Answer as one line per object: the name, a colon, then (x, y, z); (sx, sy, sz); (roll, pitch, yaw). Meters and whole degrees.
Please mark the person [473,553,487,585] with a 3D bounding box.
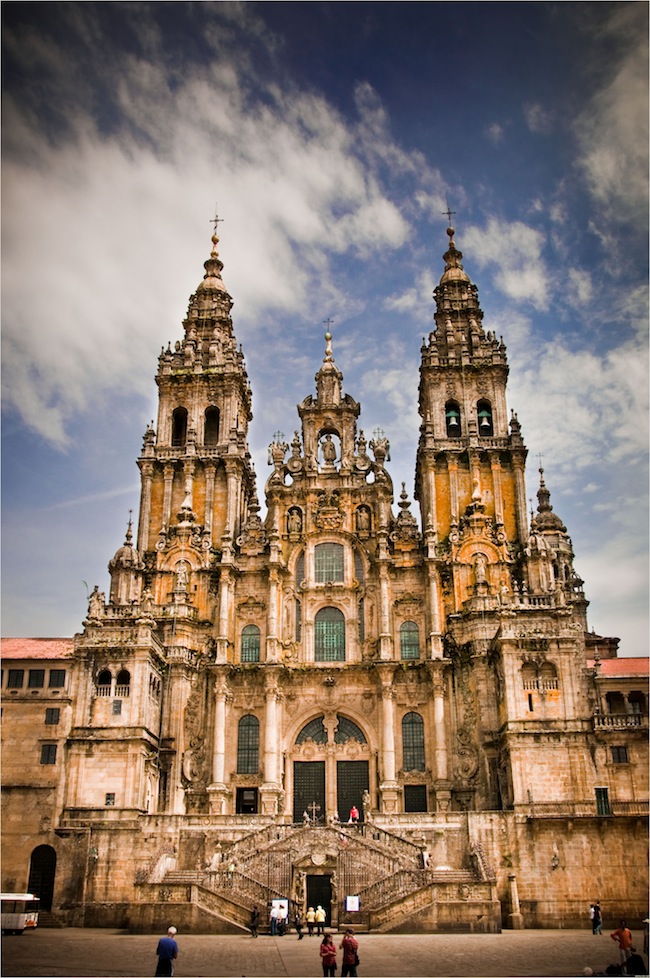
person: (8.439, 4.257, 44.407); (0.681, 2.157, 1.336); (-4, -23, 10)
